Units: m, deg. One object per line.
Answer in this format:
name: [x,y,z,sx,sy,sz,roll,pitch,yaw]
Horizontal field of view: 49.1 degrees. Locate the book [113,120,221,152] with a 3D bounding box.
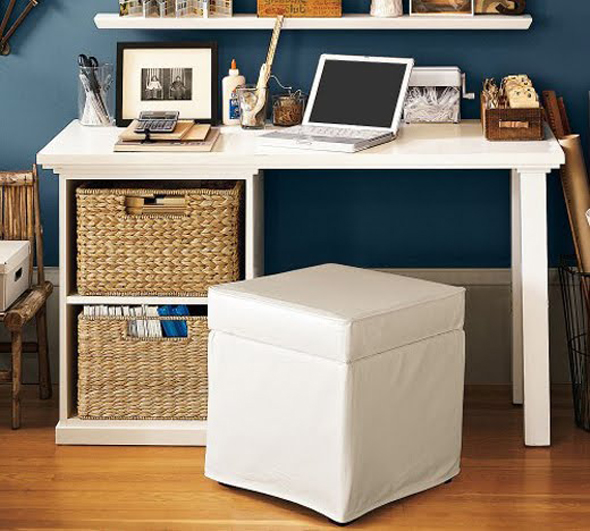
book: [-0.387,-0.408,2.028,0.305,0.089,0.346,-2,12,-6]

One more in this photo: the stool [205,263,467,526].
stool: [0.135,0.239,1.833,0.592,0.596,0.597,6,9,37]

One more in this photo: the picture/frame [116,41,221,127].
picture/frame: [-0.430,-0.628,2.221,0.333,0.297,0.027,0,-1,-1]

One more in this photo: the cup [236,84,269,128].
cup: [-0.122,-0.544,2.180,0.120,0.145,0.131,0,14,0]

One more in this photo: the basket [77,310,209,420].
basket: [-0.476,0.301,2.118,0.491,0.393,0.291,1,2,-2]

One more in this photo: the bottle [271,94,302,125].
bottle: [-0.022,-0.540,2.243,0.097,0.089,0.101,0,19,0]

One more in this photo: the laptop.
laptop: [0.136,-0.518,2.061,0.396,0.302,0.430,11,21,34]
